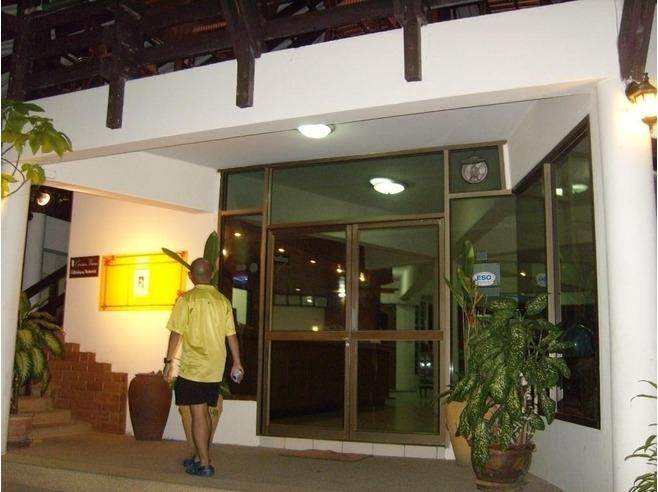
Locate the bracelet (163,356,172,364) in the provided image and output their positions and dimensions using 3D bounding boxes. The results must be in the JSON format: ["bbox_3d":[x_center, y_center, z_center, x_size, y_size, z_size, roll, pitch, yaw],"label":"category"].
[{"bbox_3d":[-1.369,0.973,4.383,0.071,0.054,0.267,4,-11,-15],"label":"bracelet"}]

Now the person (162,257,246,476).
[{"bbox_3d":[-1.092,1.014,4.465,0.637,1.853,0.334,5,-11,-19],"label":"person"}]

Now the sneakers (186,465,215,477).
[{"bbox_3d":[-1.084,1.897,4.391,0.251,0.110,0.096,-1,-8,27],"label":"sneakers"}]
